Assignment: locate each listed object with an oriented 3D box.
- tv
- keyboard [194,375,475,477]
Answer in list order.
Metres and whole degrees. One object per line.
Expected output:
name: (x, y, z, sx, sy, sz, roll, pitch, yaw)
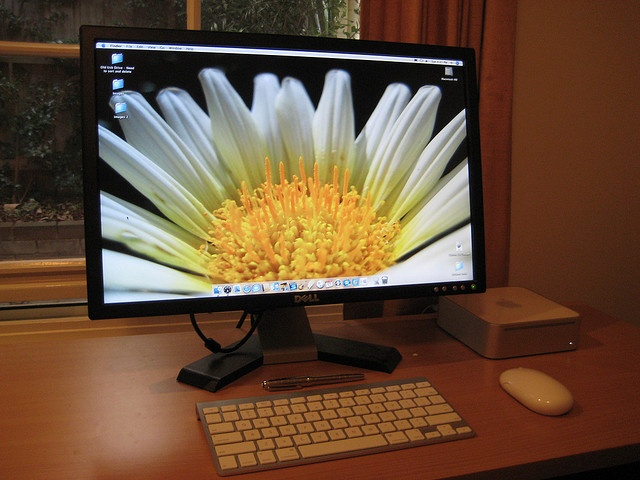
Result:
tv: (-0.074, -0.057, 1.061, 1.017, 0.728, 0.158, -1, 8, -11)
keyboard: (0.025, 0.328, 0.923, 0.480, 0.048, 0.148, -5, 21, -10)
